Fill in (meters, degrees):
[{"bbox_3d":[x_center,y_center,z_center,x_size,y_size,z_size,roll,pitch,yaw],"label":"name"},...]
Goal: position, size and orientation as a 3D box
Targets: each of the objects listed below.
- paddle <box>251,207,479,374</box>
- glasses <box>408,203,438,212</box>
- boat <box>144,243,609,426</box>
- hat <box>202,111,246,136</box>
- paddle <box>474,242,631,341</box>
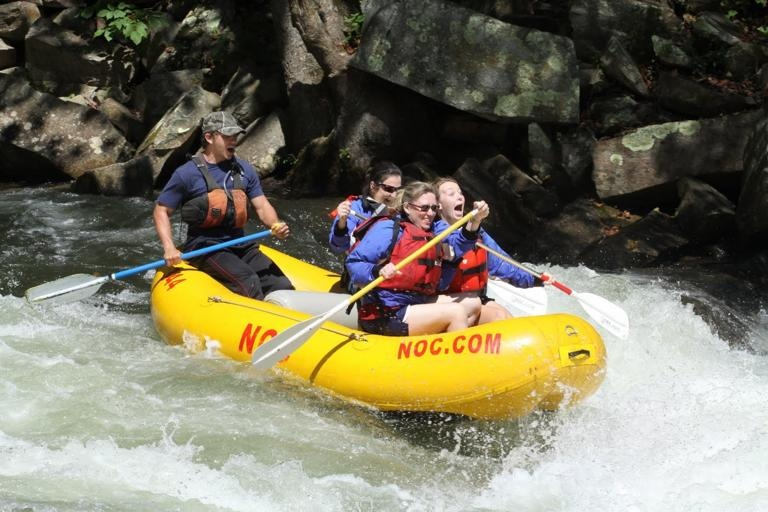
[{"bbox_3d":[-0.139,0.395,8.752,0.312,2.753,0.183,55,-4,-6],"label":"paddle"},{"bbox_3d":[0.367,-0.473,8.585,0.274,0.097,0.078,9,20,-7],"label":"glasses"},{"bbox_3d":[-0.131,0.871,8.800,3.719,0.818,1.754,13,8,21],"label":"boat"},{"bbox_3d":[-1.681,-1.399,9.359,0.406,0.269,0.509,8,19,-9],"label":"hat"},{"bbox_3d":[1.852,0.411,9.580,2.311,0.360,0.124,27,0,22],"label":"paddle"}]
